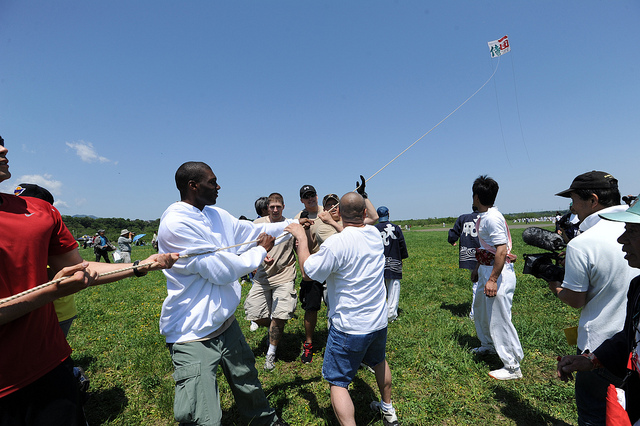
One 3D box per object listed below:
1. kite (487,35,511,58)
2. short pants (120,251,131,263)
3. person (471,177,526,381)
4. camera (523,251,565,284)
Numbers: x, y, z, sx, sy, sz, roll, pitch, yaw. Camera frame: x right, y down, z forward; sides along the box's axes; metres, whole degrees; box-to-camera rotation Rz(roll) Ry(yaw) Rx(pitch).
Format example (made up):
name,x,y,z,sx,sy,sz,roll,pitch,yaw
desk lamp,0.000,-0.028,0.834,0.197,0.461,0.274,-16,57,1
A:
name,x,y,z,sx,sy,sz,roll,pitch,yaw
kite,3.600,-3.335,7.188,0.305,0.384,0.333,3,11,28
short pants,-9.831,2.236,18.027,0.458,0.685,0.456,8,13,43
person,3.041,1.050,6.101,0.896,3.263,1.232,3,10,24
camera,2.911,0.712,4.609,0.383,0.365,0.639,6,1,7
